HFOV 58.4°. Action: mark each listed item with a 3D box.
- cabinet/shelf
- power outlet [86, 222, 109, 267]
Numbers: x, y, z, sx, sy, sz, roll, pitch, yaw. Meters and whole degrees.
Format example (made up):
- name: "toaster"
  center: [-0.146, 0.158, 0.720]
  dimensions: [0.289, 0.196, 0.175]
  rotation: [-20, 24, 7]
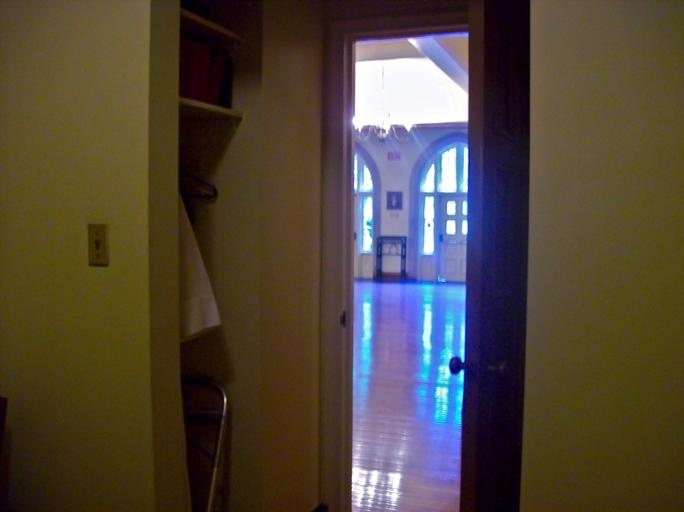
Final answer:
- name: "cabinet/shelf"
  center: [-0.643, -0.901, 3.020]
  dimensions: [0.357, 0.472, 0.434]
  rotation: [11, 7, 32]
- name: "power outlet"
  center: [-0.993, -0.045, 2.464]
  dimensions: [0.080, 0.181, 0.016]
  rotation: [-2, 24, -24]
